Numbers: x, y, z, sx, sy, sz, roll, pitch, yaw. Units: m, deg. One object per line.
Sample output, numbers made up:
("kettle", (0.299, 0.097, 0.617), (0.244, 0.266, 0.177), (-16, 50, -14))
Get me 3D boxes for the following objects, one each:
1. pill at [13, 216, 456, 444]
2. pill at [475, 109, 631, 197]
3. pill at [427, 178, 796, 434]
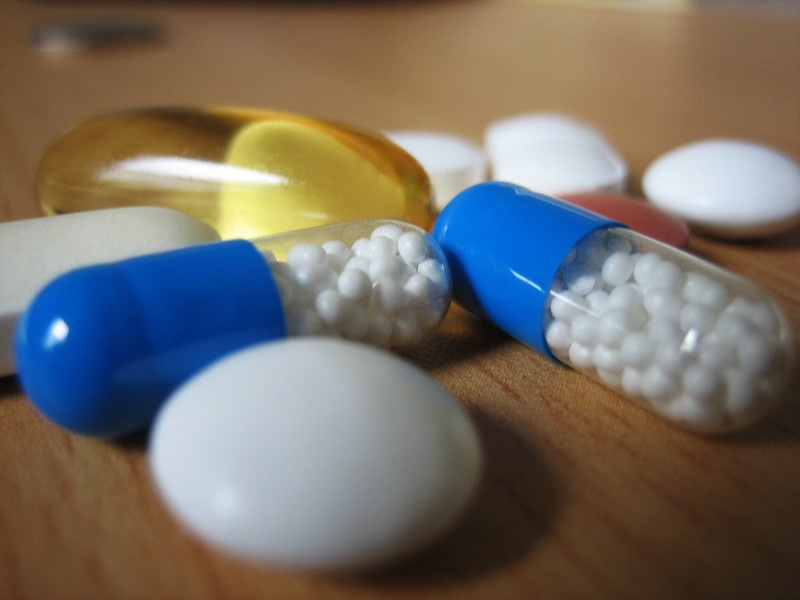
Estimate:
("pill", (-0.134, 0.011, 0.639), (0.349, 0.151, 0.135), (-14, 64, -19))
("pill", (0.182, -0.183, 0.927), (0.117, 0.061, 0.160), (-8, 27, -10))
("pill", (0.163, 0.002, 0.696), (0.311, 0.132, 0.134), (34, 45, 27))
